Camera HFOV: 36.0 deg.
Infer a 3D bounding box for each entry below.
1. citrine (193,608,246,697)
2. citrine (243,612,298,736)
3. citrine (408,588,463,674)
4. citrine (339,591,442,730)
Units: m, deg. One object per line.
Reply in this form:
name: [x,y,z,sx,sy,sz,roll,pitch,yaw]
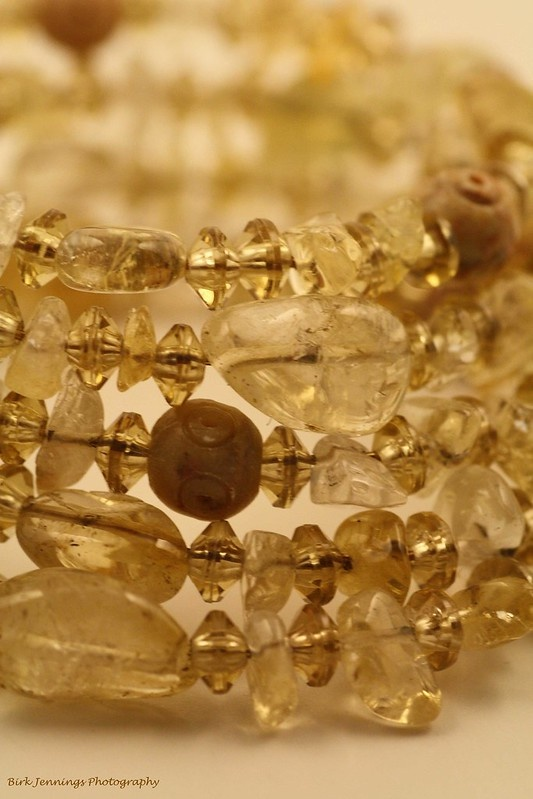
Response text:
citrine: [-0.034,0.159,0.511,0.033,0.046,0.038,-2,19,-29]
citrine: [0.002,0.164,0.488,0.031,0.020,0.056,-9,53,-4]
citrine: [0.114,0.153,0.548,0.022,0.046,0.050,-11,11,8]
citrine: [0.079,0.157,0.504,0.051,0.025,0.075,-14,47,-3]
